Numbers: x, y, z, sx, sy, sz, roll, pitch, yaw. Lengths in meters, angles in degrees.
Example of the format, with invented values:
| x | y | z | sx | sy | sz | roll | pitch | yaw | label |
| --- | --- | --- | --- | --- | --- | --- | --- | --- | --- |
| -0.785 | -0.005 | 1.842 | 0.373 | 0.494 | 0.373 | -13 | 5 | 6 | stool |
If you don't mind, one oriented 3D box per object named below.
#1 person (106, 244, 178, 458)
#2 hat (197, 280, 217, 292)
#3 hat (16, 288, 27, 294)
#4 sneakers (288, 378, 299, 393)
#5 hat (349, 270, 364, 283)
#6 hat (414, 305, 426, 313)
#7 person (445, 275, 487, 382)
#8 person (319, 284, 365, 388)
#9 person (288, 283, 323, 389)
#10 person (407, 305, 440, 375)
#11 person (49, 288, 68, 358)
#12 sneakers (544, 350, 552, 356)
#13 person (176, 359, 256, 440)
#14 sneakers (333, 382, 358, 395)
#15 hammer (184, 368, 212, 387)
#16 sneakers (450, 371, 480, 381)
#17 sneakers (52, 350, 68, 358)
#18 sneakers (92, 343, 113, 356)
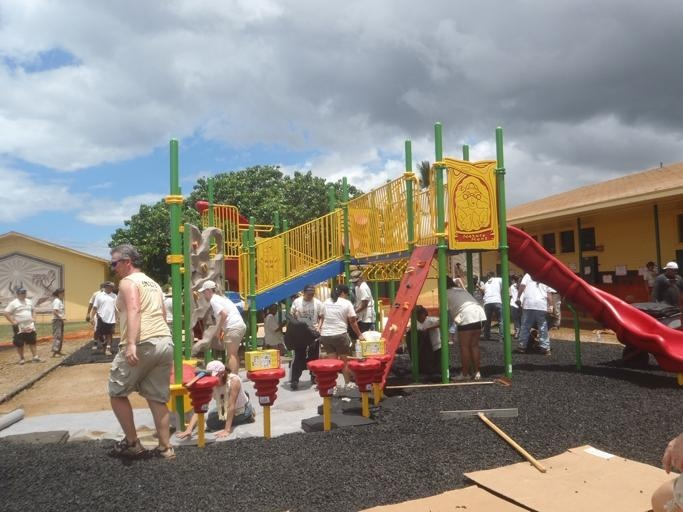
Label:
| x | y | z | sx | sy | sz | roll | pitch | yaw | label |
| --- | --- | --- | --- | --- | --- | --- | --- | --- | --- |
| -2.391 | 1.310 | 7.070 | 0.768 | 2.216 | 0.479 | -3 | 3 | -23 | person |
| -2.253 | 0.485 | 9.669 | 0.393 | 0.241 | 0.307 | 0 | -3 | 0 | hat |
| -7.572 | 0.824 | 14.012 | 0.173 | 0.117 | 0.232 | 0 | -8 | -43 | hat |
| -0.852 | 2.337 | 10.672 | 0.172 | 0.089 | 0.213 | 0 | 2 | -20 | sneakers |
| 0.313 | 0.387 | 11.747 | 0.189 | 0.147 | 0.262 | -1 | 24 | 18 | hat |
| 1.458 | 0.977 | 11.024 | 0.154 | 0.115 | 0.156 | 0 | -7 | -9 | hat |
| 2.226 | 1.256 | 10.461 | 0.643 | 1.836 | 1.110 | -2 | 3 | 11 | person |
| -0.026 | 1.440 | 10.227 | 0.658 | 1.829 | 1.072 | -3 | 2 | -3 | person |
| -0.662 | 1.459 | 10.924 | 0.634 | 1.822 | 0.807 | -3 | 2 | -3 | person |
| 1.539 | 1.552 | 10.894 | 0.555 | 1.273 | 0.926 | -2 | 2 | 8 | person |
| -7.760 | 1.815 | 16.202 | 0.370 | 1.217 | 1.352 | -4 | 3 | -27 | person |
| 4.405 | 2.054 | 12.582 | 0.113 | 0.115 | 0.118 | -6 | 5 | 8 | sneakers |
| -1.654 | 1.921 | 8.276 | 0.636 | 1.086 | 1.177 | -2 | 2 | 7 | person |
| 0.083 | 2.257 | 9.961 | 0.168 | 0.211 | 0.480 | -6 | -19 | 15 | sneakers |
| -1.835 | 1.560 | 7.553 | 0.220 | 0.154 | 0.343 | -1 | 3 | 31 | hammer |
| 2.156 | 2.060 | 10.215 | 0.524 | 0.243 | 0.187 | 4 | -10 | -8 | sneakers |
| -7.657 | 2.674 | 16.074 | 0.251 | 0.103 | 0.302 | 0 | -6 | -7 | sneakers |
| -6.611 | 2.602 | 16.389 | 0.658 | 0.308 | 0.221 | -4 | -6 | 30 | sneakers |
